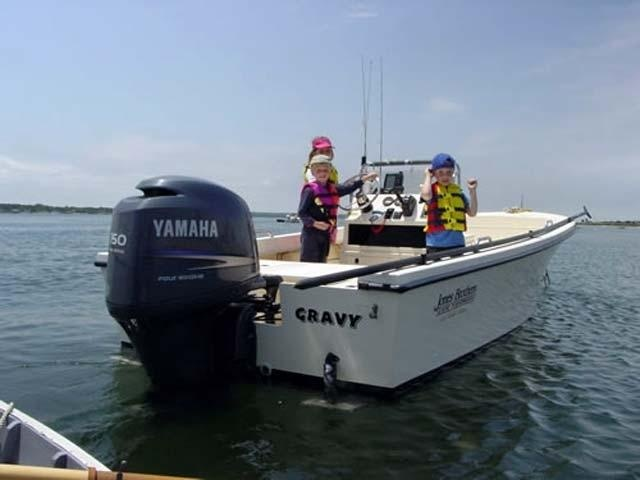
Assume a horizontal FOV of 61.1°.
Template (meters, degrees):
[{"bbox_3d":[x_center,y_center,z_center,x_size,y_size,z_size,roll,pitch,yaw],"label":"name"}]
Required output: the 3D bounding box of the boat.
[{"bbox_3d":[0.983,0.147,5.832,2.361,1.369,5.810,5,9,37],"label":"boat"}]

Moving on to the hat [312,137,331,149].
[{"bbox_3d":[0.014,-1.054,5.950,0.199,0.158,0.209,1,5,0],"label":"hat"}]
